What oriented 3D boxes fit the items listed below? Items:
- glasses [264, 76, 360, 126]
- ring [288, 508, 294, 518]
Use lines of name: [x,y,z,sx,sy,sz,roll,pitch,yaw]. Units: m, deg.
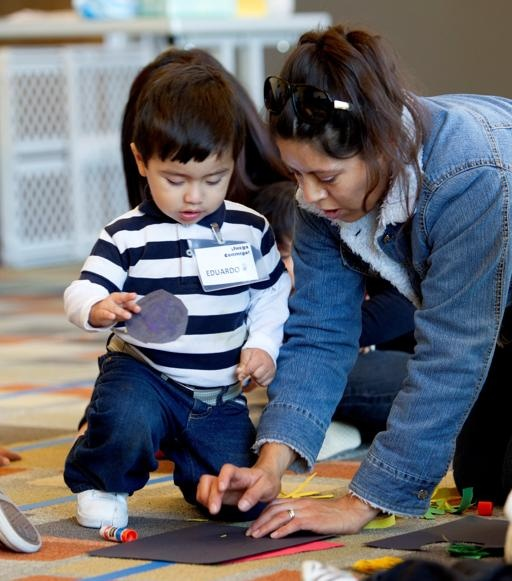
glasses: [0.078,-0.249,0.978,0.104,0.028,0.098,5,10,-44]
ring: [0.048,0.304,1.003,0.008,0.010,0.011,-3,-5,4]
